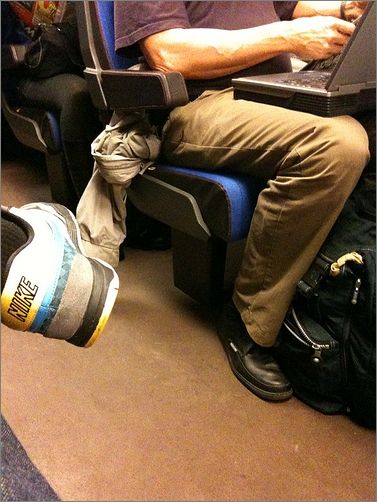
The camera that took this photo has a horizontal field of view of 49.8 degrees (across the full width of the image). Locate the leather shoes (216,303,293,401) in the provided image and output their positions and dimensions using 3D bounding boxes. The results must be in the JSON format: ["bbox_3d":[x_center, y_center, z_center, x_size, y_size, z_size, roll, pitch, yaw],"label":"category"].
[{"bbox_3d":[0.148,0.249,1.020,0.091,0.121,0.264,-11,41,-20],"label":"leather shoes"}]

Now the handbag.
[{"bbox_3d":[-0.481,-0.729,1.501,0.101,0.153,0.261,2,6,35],"label":"handbag"}]
